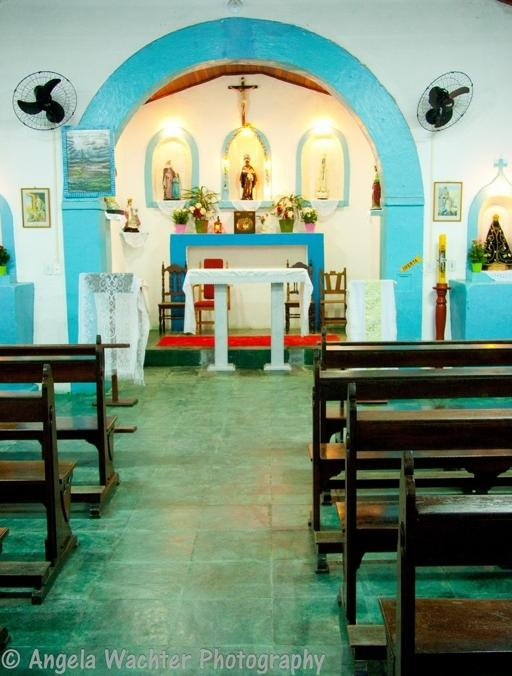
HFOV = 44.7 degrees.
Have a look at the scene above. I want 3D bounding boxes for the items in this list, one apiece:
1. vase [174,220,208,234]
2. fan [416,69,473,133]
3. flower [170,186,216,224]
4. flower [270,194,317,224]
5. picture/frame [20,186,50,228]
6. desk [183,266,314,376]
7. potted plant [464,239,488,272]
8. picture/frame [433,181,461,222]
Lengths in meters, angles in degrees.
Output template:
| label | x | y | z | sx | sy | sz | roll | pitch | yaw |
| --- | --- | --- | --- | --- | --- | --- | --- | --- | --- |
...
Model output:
| label | x | y | z | sx | sy | sz | roll | pitch | yaw |
| --- | --- | --- | --- | --- | --- | --- | --- | --- | --- |
| vase | -0.977 | -1.687 | 9.516 | 0.362 | 0.134 | 0.249 | -1 | 4 | 4 |
| fan | 1.937 | -2.365 | 6.452 | 0.549 | 0.544 | 0.123 | 8 | 48 | -14 |
| flower | -0.935 | -2.044 | 9.553 | 0.585 | 0.556 | 0.563 | 0 | 8 | 6 |
| flower | 0.608 | -1.975 | 9.633 | 0.479 | 0.356 | 0.566 | -1 | 2 | 3 |
| picture/frame | -2.324 | -1.382 | 6.498 | 0.419 | 0.547 | 0.026 | 2 | 13 | -4 |
| desk | -0.104 | -0.216 | 7.298 | 1.507 | 1.200 | 0.656 | -1 | 6 | -9 |
| potted plant | 2.397 | -0.901 | 6.768 | 0.293 | 0.482 | 0.326 | 1 | 9 | 18 |
| picture/frame | 2.055 | -1.480 | 6.677 | 0.410 | 0.536 | 0.023 | -1 | 5 | -3 |
